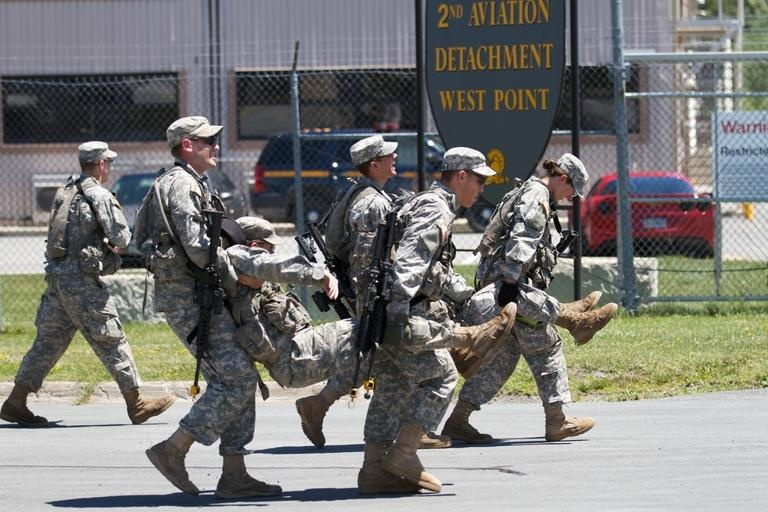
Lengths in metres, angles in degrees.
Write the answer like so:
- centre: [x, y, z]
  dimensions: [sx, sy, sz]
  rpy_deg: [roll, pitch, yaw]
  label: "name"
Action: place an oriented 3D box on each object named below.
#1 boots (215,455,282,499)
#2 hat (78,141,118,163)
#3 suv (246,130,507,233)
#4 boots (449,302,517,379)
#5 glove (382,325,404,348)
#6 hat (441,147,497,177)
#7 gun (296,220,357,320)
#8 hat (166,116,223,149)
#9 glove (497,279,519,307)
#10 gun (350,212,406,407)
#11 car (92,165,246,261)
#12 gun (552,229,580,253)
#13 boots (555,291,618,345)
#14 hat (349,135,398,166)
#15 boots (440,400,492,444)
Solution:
- centre: [-1.807, 2.821, 21.104]
  dimensions: [0.977, 0.620, 0.358]
  rpy_deg: [0, 1, -12]
  label: "boots"
- centre: [-4.019, -1.459, 23.426]
  dimensions: [0.422, 0.191, 0.311]
  rpy_deg: [-8, 11, -40]
  label: "hat"
- centre: [-1.091, -1.753, 36.335]
  dimensions: [4.539, 1.881, 2.365]
  rpy_deg: [-2, 1, 3]
  label: "suv"
- centre: [1.287, 1.060, 21.812]
  dimensions: [0.406, 0.941, 0.302]
  rpy_deg: [17, 22, -45]
  label: "boots"
- centre: [0.130, 0.994, 20.912]
  dimensions: [0.285, 0.287, 0.204]
  rpy_deg: [2, 1, -4]
  label: "glove"
- centre: [1.077, -1.186, 21.324]
  dimensions: [0.546, 0.252, 0.385]
  rpy_deg: [2, 3, -4]
  label: "hat"
- centre: [-0.728, 0.156, 21.750]
  dimensions: [0.320, 1.461, 0.566]
  rpy_deg: [-21, -6, -42]
  label: "gun"
- centre: [-2.412, -1.541, 21.194]
  dimensions: [0.606, 0.242, 0.396]
  rpy_deg: [-11, 5, -3]
  label: "hat"
- centre: [1.669, 0.501, 22.054]
  dimensions: [0.314, 0.431, 0.205]
  rpy_deg: [4, -6, -2]
  label: "glove"
- centre: [-0.031, 0.688, 20.972]
  dimensions: [0.321, 2.359, 0.858]
  rpy_deg: [12, 1, 2]
  label: "gun"
- centre: [-4.519, -0.924, 34.265]
  dimensions: [1.982, 1.575, 3.475]
  rpy_deg: [-2, -1, 12]
  label: "car"
- centre: [2.537, -0.214, 22.854]
  dimensions: [0.332, 0.329, 0.107]
  rpy_deg: [-6, 48, -50]
  label: "gun"
- centre: [2.765, 0.861, 22.958]
  dimensions: [0.587, 0.916, 0.359]
  rpy_deg: [54, 10, 31]
  label: "boots"
- centre: [-0.127, -1.407, 21.706]
  dimensions: [0.543, 0.217, 0.360]
  rpy_deg: [-18, 16, -7]
  label: "hat"
- centre: [1.184, 2.227, 22.579]
  dimensions: [0.722, 0.574, 0.297]
  rpy_deg: [11, 12, -13]
  label: "boots"
